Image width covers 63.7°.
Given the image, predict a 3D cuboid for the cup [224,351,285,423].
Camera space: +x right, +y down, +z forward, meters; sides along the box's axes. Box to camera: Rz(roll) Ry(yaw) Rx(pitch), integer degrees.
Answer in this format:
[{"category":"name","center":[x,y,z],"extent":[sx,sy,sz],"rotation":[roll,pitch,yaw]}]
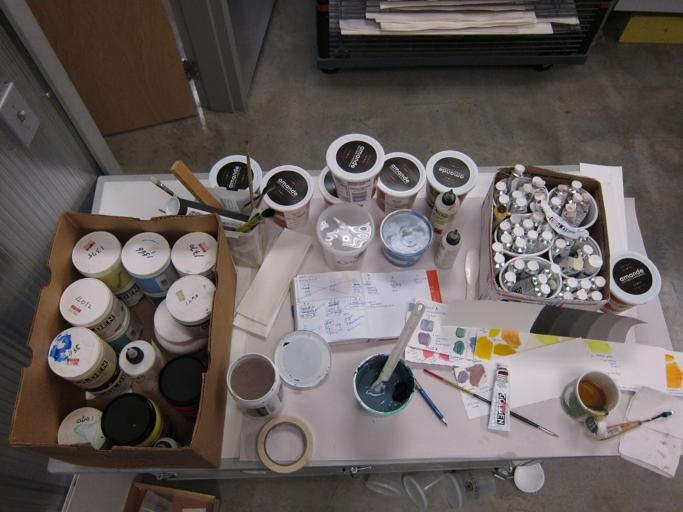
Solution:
[{"category":"cup","center":[-0.257,0.411,1.698],"extent":[0.145,0.248,0.160],"rotation":[8,57,8]}]

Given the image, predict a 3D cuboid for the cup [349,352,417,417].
[{"category":"cup","center":[0.128,0.383,1.661],"extent":[0.178,0.078,0.154],"rotation":[26,66,11]}]

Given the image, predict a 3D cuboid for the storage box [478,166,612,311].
[{"category":"storage box","center":[0.657,-0.048,1.783],"extent":[0.360,0.245,0.533],"rotation":[4,75,0]}]

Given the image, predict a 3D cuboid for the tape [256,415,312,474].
[{"category":"tape","center":[-0.170,0.568,1.670],"extent":[0.174,0.052,0.159],"rotation":[0,64,-1]}]

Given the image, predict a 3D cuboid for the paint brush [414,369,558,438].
[{"category":"paint brush","center":[0.462,0.459,1.719],"extent":[0.449,0.030,0.021],"rotation":[24,65,10]}]

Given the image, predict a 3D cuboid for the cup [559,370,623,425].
[{"category":"cup","center":[0.754,0.430,1.736],"extent":[0.156,0.152,0.170],"rotation":[1,48,-2]}]
